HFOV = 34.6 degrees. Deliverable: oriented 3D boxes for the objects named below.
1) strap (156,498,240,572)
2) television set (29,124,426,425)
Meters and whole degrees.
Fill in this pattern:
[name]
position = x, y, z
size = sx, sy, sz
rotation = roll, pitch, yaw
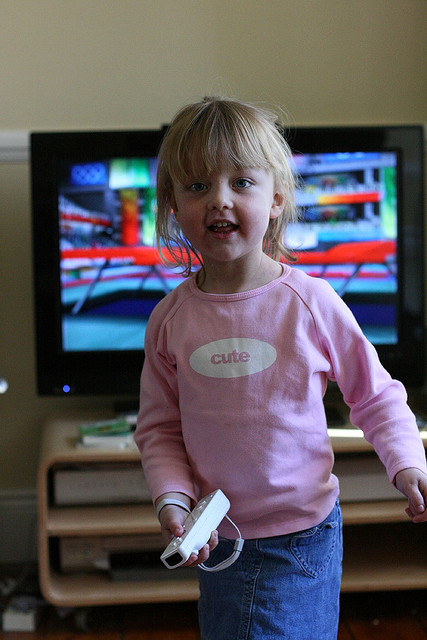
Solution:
[strap]
position = -0.003, 0.295, 0.914
size = 0.080, 0.138, 0.023
rotation = -16, 45, 43
[television set]
position = 0.010, -0.126, 1.373
size = 0.938, 0.600, 0.219
rotation = -1, 0, 0
